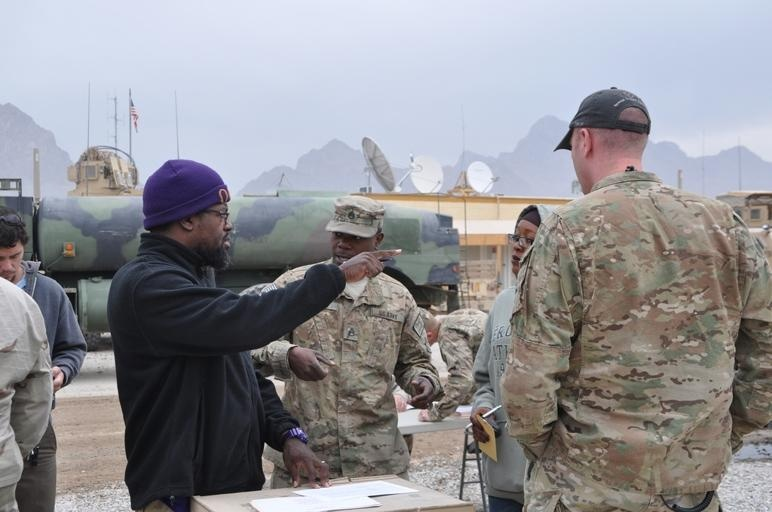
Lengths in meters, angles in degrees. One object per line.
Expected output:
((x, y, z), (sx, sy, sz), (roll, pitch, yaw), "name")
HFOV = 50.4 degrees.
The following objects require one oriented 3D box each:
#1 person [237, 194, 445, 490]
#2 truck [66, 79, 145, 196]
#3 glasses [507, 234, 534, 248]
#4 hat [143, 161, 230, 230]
((-0.280, 0.805, 5.218), (1.238, 2.222, 1.190), (1, -3, -10), "person")
((-7.226, -2.770, 20.560), (1.481, 2.387, 1.722), (-1, 12, 8), "truck")
((0.895, -0.100, 5.390), (0.107, 0.033, 0.102), (13, -1, -27), "glasses")
((-1.048, -0.299, 4.232), (0.427, 0.347, 0.424), (-9, 12, -20), "hat")
